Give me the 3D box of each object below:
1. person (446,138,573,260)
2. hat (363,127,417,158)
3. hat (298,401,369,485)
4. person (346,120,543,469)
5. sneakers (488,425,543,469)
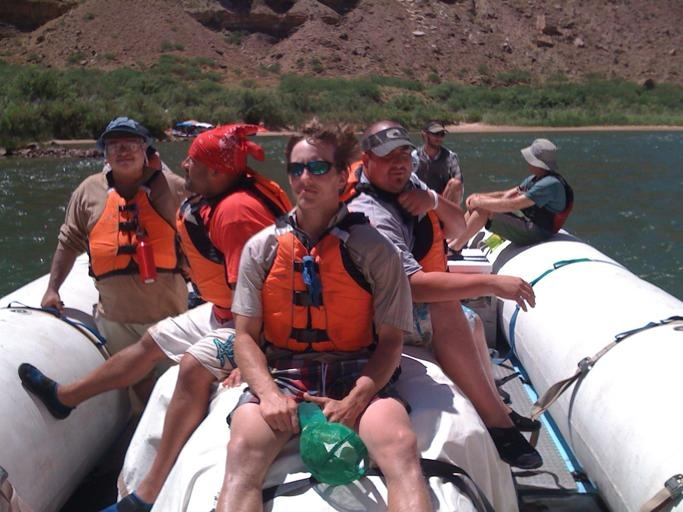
[{"bbox_3d":[1.528,-0.544,6.265,1.446,1.089,0.637,3,14,20],"label":"person"},{"bbox_3d":[0.266,-0.676,3.758,0.166,0.096,0.233,-12,12,-19],"label":"hat"},{"bbox_3d":[-0.062,0.888,3.006,0.208,0.194,0.377,-22,47,-23],"label":"hat"},{"bbox_3d":[0.642,0.213,3.972,1.185,1.990,0.792,7,25,39],"label":"person"},{"bbox_3d":[1.011,1.104,3.746,0.184,0.163,0.440,-3,5,-18],"label":"sneakers"}]
